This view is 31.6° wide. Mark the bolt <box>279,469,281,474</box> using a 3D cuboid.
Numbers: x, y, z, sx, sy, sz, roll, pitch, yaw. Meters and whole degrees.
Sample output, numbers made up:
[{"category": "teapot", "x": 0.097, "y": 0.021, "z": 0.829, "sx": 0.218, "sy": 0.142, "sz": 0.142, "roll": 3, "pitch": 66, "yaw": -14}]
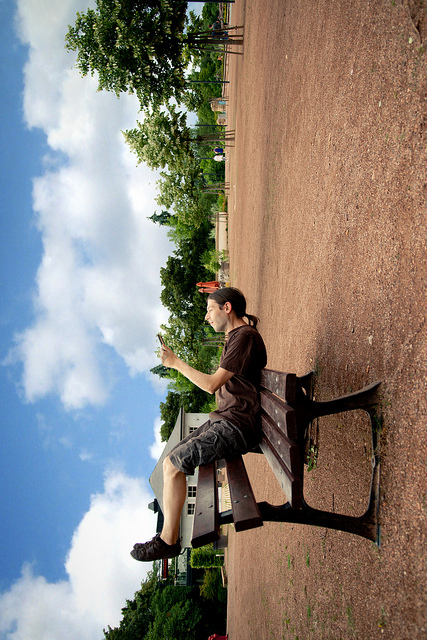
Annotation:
[{"category": "bolt", "x": 0.440, "y": 1.002, "z": 5.009, "sx": 0.009, "sy": 0.042, "sz": 0.011, "roll": 6, "pitch": -19, "yaw": -17}]

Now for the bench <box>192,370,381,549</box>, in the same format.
[{"category": "bench", "x": 0.474, "y": 1.044, "z": 5.496, "sx": 1.156, "sy": 1.071, "sz": 2.472, "roll": 1, "pitch": -17, "yaw": -5}]

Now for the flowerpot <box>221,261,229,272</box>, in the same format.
[{"category": "flowerpot", "x": 0.322, "y": -1.537, "z": 21.560, "sx": 0.230, "sy": 0.329, "sz": 0.239, "roll": -1, "pitch": -10, "yaw": 10}]

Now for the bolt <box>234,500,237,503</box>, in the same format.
[{"category": "bolt", "x": 0.147, "y": 1.221, "z": 5.096, "sx": 0.006, "sy": 0.012, "sz": 0.026, "roll": 7, "pitch": -5, "yaw": -21}]
